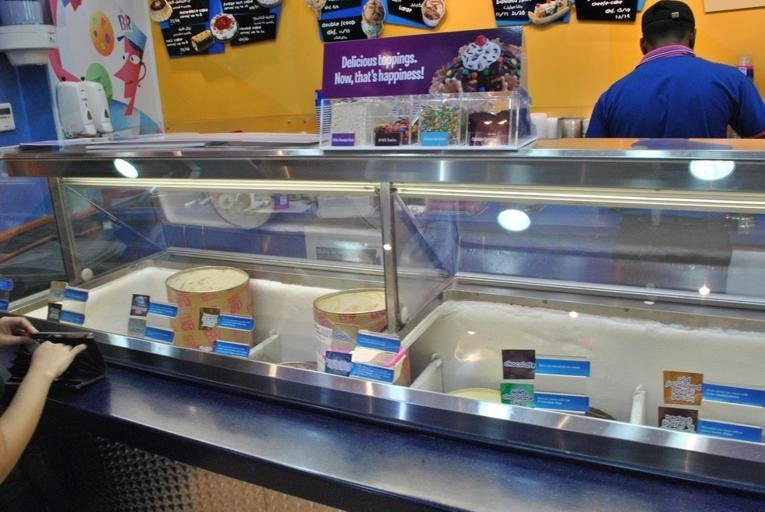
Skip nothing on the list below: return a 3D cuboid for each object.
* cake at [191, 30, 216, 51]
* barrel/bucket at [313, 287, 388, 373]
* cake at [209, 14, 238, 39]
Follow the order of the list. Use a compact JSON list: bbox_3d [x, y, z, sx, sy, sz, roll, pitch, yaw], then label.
[{"bbox_3d":[-1.736,-2.072,4.779,0.223,0.184,0.049,3,18,12],"label":"cake"},{"bbox_3d":[-0.096,0.202,1.582,0.264,0.246,0.247,-1,11,0],"label":"barrel/bucket"},{"bbox_3d":[-1.505,-2.166,4.688,0.271,0.235,0.068,6,19,21],"label":"cake"}]
